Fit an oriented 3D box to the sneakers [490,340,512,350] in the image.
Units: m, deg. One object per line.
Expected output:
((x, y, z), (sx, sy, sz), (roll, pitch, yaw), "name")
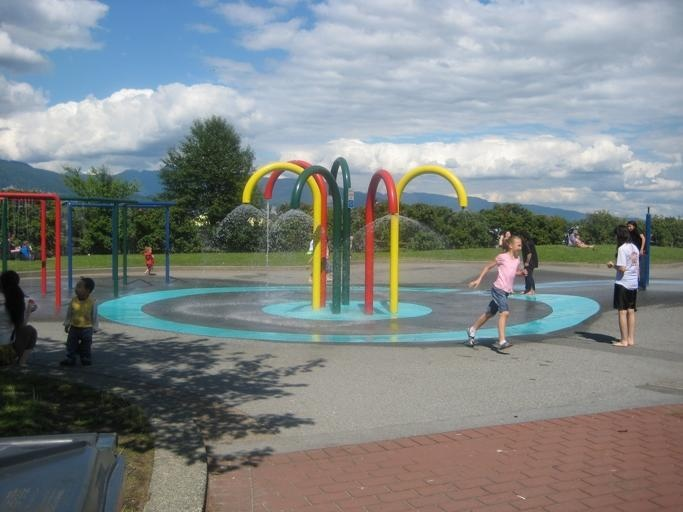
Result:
((2.707, 1.548, 10.234), (0.153, 0.156, 0.410), (-3, -12, -29), "sneakers")

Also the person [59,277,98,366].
((-3.907, 0.983, 8.879), (0.494, 1.275, 0.356), (-2, 5, -24), "person")

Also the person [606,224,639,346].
((5.150, 0.507, 10.876), (0.471, 2.098, 1.445), (3, 5, 26), "person")
